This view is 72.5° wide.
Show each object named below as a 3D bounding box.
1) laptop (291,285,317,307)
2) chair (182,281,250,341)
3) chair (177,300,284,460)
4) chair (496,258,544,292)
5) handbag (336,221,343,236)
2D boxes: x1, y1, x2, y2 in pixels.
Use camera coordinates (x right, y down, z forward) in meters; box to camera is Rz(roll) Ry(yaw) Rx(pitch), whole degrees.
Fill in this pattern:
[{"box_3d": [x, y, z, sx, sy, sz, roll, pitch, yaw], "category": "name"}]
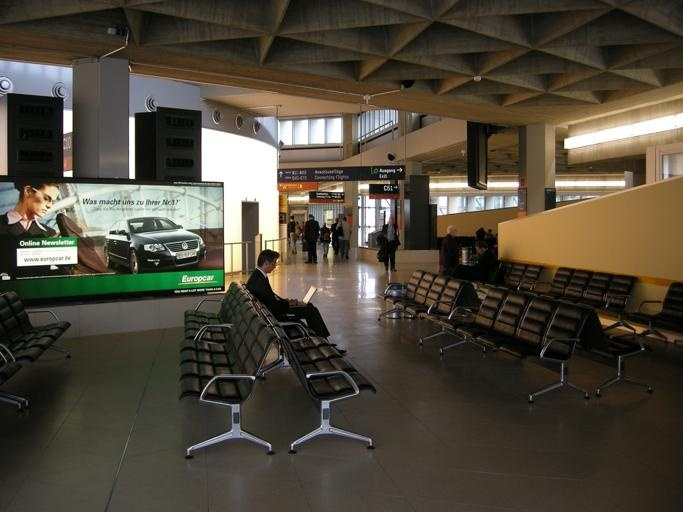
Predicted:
[{"box_3d": [-0.522, 0.587, 6.576, 0.371, 0.231, 0.368, 1, 0, -11], "category": "laptop"}, {"box_3d": [-1.555, 0.787, 5.759, 0.677, 0.439, 1.175, 4, 6, -13], "category": "chair"}, {"box_3d": [-1.011, 0.563, 4.203, 0.884, 1.058, 2.429, 2, 6, -12], "category": "chair"}, {"box_3d": [3.704, 0.401, 9.752, 0.408, 0.582, 0.933, 5, 5, -37], "category": "chair"}, {"box_3d": [-0.088, -1.230, 21.363, 0.143, 0.654, 0.605, -3, 6, -28], "category": "handbag"}]
